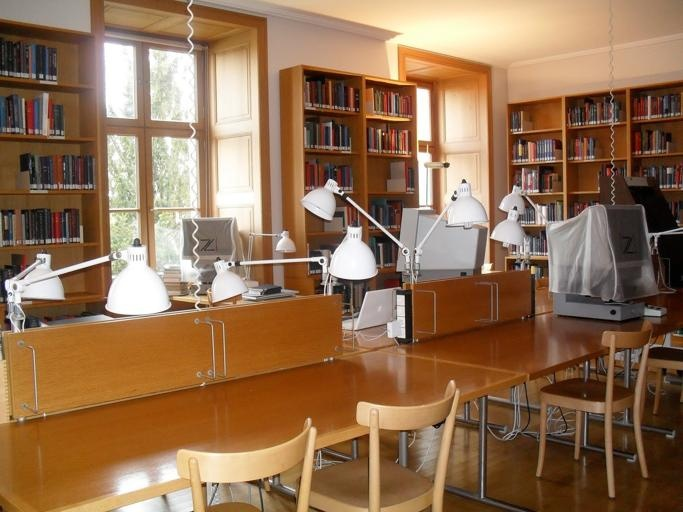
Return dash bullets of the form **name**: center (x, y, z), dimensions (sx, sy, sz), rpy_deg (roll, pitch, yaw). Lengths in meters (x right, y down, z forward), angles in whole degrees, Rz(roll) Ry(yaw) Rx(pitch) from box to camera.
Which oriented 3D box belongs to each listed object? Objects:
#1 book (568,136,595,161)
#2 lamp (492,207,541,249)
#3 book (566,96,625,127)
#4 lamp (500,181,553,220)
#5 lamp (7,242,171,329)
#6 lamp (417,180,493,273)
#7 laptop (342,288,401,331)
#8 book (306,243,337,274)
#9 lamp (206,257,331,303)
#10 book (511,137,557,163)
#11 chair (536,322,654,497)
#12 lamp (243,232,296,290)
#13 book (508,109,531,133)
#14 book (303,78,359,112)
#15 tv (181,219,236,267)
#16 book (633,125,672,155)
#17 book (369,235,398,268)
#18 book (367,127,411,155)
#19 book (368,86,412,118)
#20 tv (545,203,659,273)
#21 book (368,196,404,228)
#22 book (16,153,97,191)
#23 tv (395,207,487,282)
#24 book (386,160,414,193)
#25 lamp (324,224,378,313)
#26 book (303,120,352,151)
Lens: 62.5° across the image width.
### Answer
- **book**: center (3.289, -1.410, 7.742), dimensions (0.288, 0.406, 0.407), rpy_deg (-5, 9, -43)
- **lamp**: center (1.273, -0.226, 4.285), dimensions (0.286, 0.301, 0.277), rpy_deg (2, 19, -38)
- **book**: center (3.451, -1.943, 7.598), dimensions (0.699, 0.428, 0.360), rpy_deg (11, 13, 38)
- **lamp**: center (1.718, -0.463, 5.078), dimensions (0.613, 0.279, 0.222), rpy_deg (13, -3, -4)
- **lamp**: center (-1.604, 0.174, 3.419), dimensions (0.970, 0.478, 0.410), rpy_deg (-14, 6, 1)
- **lamp**: center (0.639, -0.135, 3.340), dimensions (0.408, 0.617, 0.261), rpy_deg (6, 0, 12)
- **laptop**: center (0.220, 0.380, 3.919), dimensions (0.299, 0.219, 0.361), rpy_deg (-1, 3, 38)
- **book**: center (-0.178, 0.032, 4.654), dimensions (0.332, 0.314, 0.181), rpy_deg (-1, -2, 43)
- **lamp**: center (-0.360, 0.110, 2.799), dimensions (0.617, 0.217, 0.195), rpy_deg (-4, -5, -22)
- **book**: center (2.786, -1.482, 8.057), dimensions (0.731, 0.336, 0.203), rpy_deg (12, 14, 41)
- **chair**: center (1.596, 0.940, 3.552), dimensions (0.491, 0.945, 0.586), rpy_deg (-1, 0, -35)
- **lamp**: center (-0.664, -0.047, 5.049), dimensions (0.494, 0.327, 0.340), rpy_deg (-3, -1, 1)
- **book**: center (2.594, -1.882, 8.251), dimensions (0.292, 0.386, 0.407), rpy_deg (3, 3, 39)
- **book**: center (-0.134, -1.760, 6.177), dimensions (0.731, 0.339, 0.236), rpy_deg (-6, 13, -38)
- **tv**: center (-1.342, -0.111, 5.630), dimensions (0.474, 0.446, 0.184), rpy_deg (-1, -2, -9)
- **book**: center (3.963, -1.423, 7.252), dimensions (0.337, 0.472, 0.489), rpy_deg (-2, 2, 5)
- **book**: center (0.442, -0.050, 6.048), dimensions (0.207, 0.363, 0.385), rpy_deg (-3, -1, 29)
- **book**: center (0.579, -1.369, 6.712), dimensions (0.194, 0.331, 0.707), rpy_deg (10, 13, 38)
- **book**: center (0.535, -1.838, 6.721), dimensions (0.708, 0.358, 0.330), rpy_deg (-6, 13, -40)
- **tv**: center (1.983, -0.074, 4.341), dimensions (0.714, 0.542, 0.535), rpy_deg (-3, 4, -41)
- **book**: center (0.543, -0.516, 6.798), dimensions (0.328, 0.446, 0.462), rpy_deg (1, 4, 28)
- **book**: center (-2.442, -0.717, 4.873), dimensions (0.571, 0.308, 0.201), rpy_deg (-2, 11, -24)
- **tv**: center (0.882, -0.076, 4.855), dimensions (0.648, 0.666, 0.664), rpy_deg (1, 4, 25)
- **book**: center (0.735, -0.973, 6.978), dimensions (0.369, 0.500, 0.359), rpy_deg (-3, 6, -32)
- **lamp**: center (0.060, -0.002, 2.833), dimensions (0.236, 0.318, 0.287), rpy_deg (2, 10, 0)
- **book**: center (-0.159, -1.313, 6.168), dimensions (0.634, 0.311, 0.162), rpy_deg (-4, 12, -33)
